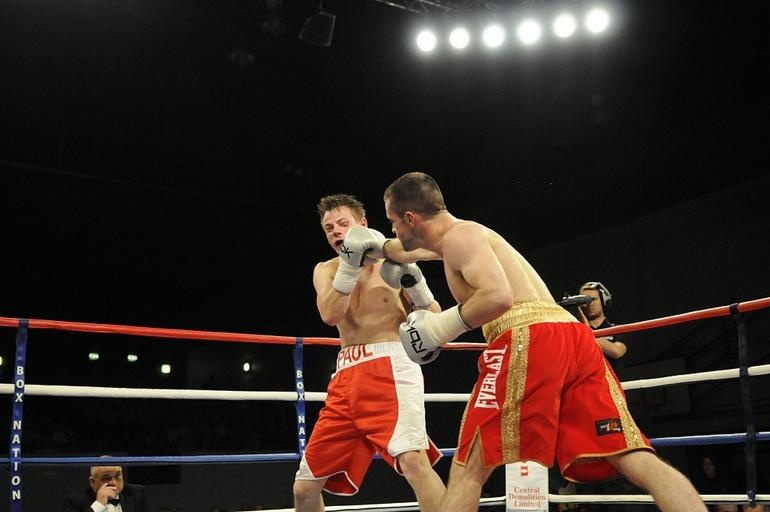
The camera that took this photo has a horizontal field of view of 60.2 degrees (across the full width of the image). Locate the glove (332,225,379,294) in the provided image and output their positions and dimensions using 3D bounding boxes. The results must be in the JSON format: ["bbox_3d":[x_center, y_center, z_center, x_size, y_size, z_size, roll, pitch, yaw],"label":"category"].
[{"bbox_3d":[-0.221,0.042,4.751,0.221,0.349,0.459,11,-48,-34],"label":"glove"}]

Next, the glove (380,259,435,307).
[{"bbox_3d":[0.165,0.166,4.785,0.285,0.388,0.146,-34,14,19],"label":"glove"}]

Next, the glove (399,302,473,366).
[{"bbox_3d":[0.289,0.496,4.204,0.447,0.313,0.185,-21,19,35],"label":"glove"}]
